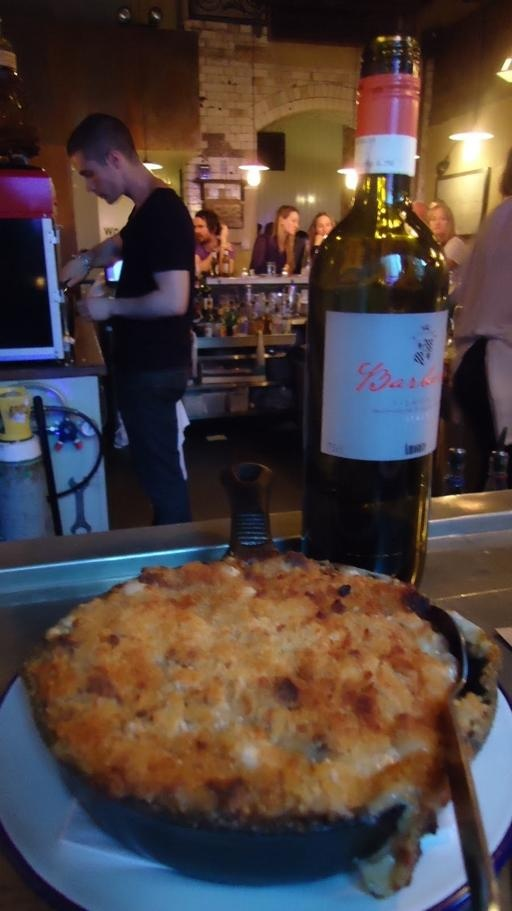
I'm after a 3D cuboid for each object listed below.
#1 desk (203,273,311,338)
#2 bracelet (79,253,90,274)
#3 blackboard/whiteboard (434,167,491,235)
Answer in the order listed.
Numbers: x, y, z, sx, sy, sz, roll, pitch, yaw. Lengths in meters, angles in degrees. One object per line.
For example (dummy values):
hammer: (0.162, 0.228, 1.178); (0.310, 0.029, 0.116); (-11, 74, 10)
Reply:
desk: (-0.003, -1.094, 5.372); (0.826, 0.489, 0.596); (-1, 64, 2)
bracelet: (-0.779, -0.854, 2.911); (0.032, 0.097, 0.069); (-2, 38, -1)
blackboard/whiteboard: (2.086, -2.637, 6.723); (0.655, 0.710, 0.066); (-3, 3, -5)
